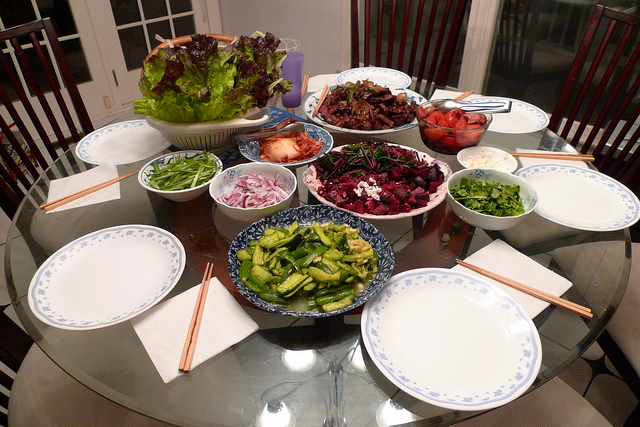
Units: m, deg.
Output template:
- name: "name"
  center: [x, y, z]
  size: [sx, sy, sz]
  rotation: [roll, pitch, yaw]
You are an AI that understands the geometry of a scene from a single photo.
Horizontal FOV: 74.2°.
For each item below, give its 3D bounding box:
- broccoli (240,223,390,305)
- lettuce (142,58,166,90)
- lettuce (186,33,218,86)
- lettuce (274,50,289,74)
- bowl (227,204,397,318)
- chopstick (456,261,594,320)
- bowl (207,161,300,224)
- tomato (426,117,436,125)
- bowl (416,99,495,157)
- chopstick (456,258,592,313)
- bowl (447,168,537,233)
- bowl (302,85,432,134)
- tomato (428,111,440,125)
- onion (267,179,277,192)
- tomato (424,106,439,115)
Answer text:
- name: "broccoli"
  center: [-0.015, 0.182, 1.550]
  size: [0.547, 0.132, 0.317]
  rotation: [-4, 42, -7]
- name: "lettuce"
  center: [-0.756, -0.658, 1.960]
  size: [0.108, 0.157, 0.042]
  rotation: [-1, 10, 9]
- name: "lettuce"
  center: [-0.542, -0.719, 1.961]
  size: [0.144, 0.187, 0.157]
  rotation: [3, 41, 2]
- name: "lettuce"
  center: [-0.194, -0.772, 2.154]
  size: [0.090, 0.093, 0.039]
  rotation: [-22, 8, -6]
- name: "bowl"
  center: [-0.039, 0.185, 1.550]
  size: [0.440, 0.138, 0.473]
  rotation: [3, 41, -3]
- name: "chopstick"
  center: [0.755, 0.295, 1.576]
  size: [0.489, 0.020, 0.022]
  rotation: [21, -2, 8]
- name: "bowl"
  center: [-0.271, -0.105, 1.844]
  size: [0.307, 0.123, 0.303]
  rotation: [1, 43, -1]
- name: "tomato"
  center: [0.539, -0.450, 2.037]
  size: [0.039, 0.039, 0.040]
  rotation: [-26, 22, -18]
- name: "bowl"
  center: [0.634, -0.436, 2.070]
  size: [0.330, 0.183, 0.340]
  rotation: [-3, 37, 2]
- name: "chopstick"
  center: [0.756, 0.277, 1.589]
  size: [0.441, 0.020, 0.018]
  rotation: [23, 49, 24]
- name: "bowl"
  center: [0.695, -0.076, 1.764]
  size: [0.300, 0.129, 0.310]
  rotation: [1, 41, -1]
- name: "bowl"
  center: [0.246, -0.525, 2.145]
  size: [0.412, 0.089, 0.418]
  rotation: [2, 34, -1]
- name: "tomato"
  center: [0.553, -0.470, 2.076]
  size: [0.046, 0.056, 0.033]
  rotation: [21, 24, -25]
- name: "onion"
  center: [-0.210, -0.130, 1.878]
  size: [0.019, 0.022, 0.085]
  rotation: [-31, 72, -19]
- name: "tomato"
  center: [0.555, -0.517, 2.102]
  size: [0.052, 0.025, 0.043]
  rotation: [-14, 21, 35]
